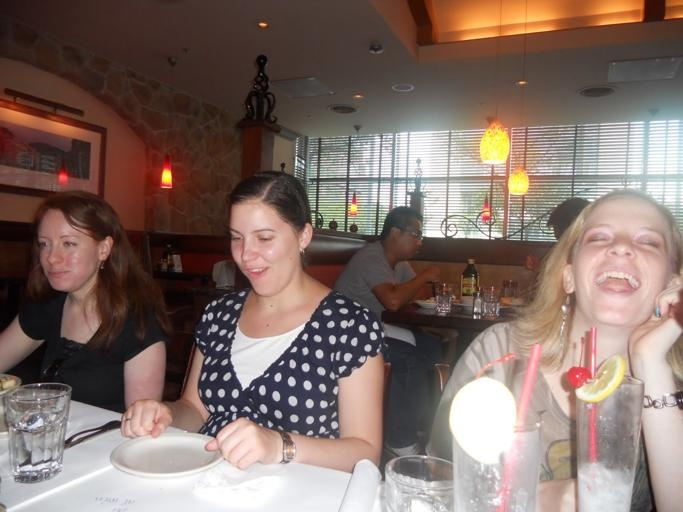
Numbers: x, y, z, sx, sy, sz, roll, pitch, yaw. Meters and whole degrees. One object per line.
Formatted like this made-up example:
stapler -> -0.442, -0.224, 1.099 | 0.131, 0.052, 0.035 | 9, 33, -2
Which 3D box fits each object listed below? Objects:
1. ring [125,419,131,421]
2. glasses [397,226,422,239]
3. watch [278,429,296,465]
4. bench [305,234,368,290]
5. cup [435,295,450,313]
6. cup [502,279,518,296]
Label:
ring -> -0.632, 0.480, 1.548 | 0.010, 0.003, 0.008 | 1, 1, -12
glasses -> 0.512, -0.172, 3.798 | 0.094, 0.031, 0.096 | 10, 12, -45
watch -> -0.155, 0.546, 1.505 | 0.046, 0.078, 0.070 | 10, -28, -43
bench -> -0.046, 0.019, 4.608 | 0.432, 0.418, 0.485 | 1, 2, -6
cup -> 0.679, 0.319, 3.557 | 0.104, 0.120, 0.104 | -1, -1, 0
cup -> 1.535, 0.290, 4.778 | 0.134, 0.166, 0.141 | 3, -12, 1
